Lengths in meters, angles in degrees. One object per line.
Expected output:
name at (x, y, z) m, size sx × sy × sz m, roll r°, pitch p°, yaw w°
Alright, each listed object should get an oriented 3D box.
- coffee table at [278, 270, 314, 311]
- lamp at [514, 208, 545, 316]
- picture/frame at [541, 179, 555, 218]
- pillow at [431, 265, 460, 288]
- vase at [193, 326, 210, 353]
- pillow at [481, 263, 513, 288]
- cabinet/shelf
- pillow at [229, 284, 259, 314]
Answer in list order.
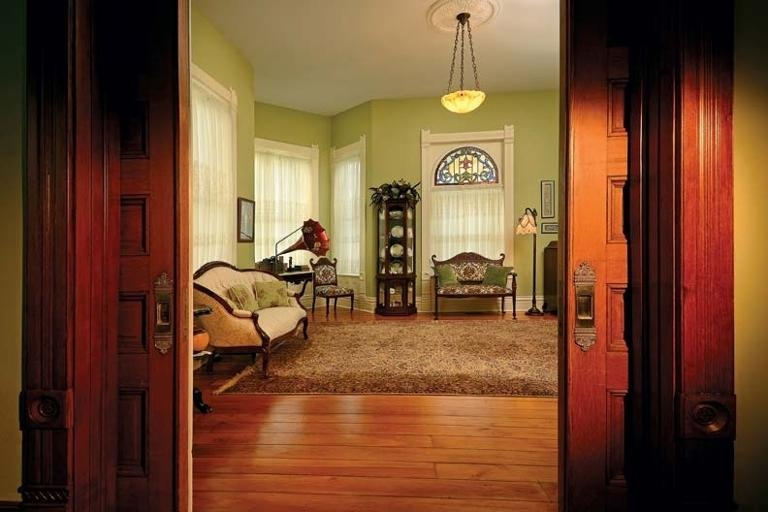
coffee table at (-1.147, 0.519, 7.526) m, size 0.445 × 0.510 × 0.721 m, roll 1°, pitch -2°, yaw -11°
lamp at (1.937, 0.061, 7.927) m, size 0.392 × 1.369 × 0.669 m, roll 2°, pitch 12°, yaw 13°
picture/frame at (2.228, -0.778, 8.068) m, size 0.219 × 0.516 × 0.149 m, roll 2°, pitch 12°, yaw 15°
pillow at (0.822, 0.261, 8.013) m, size 0.285 × 0.284 × 0.084 m, roll -4°, pitch -17°, yaw -26°
vase at (-1.367, 0.629, 4.406) m, size 0.162 × 0.191 × 0.163 m, roll -1°, pitch -9°, yaw -4°
pillow at (1.503, 0.271, 7.959) m, size 0.310 × 0.300 × 0.095 m, roll -1°, pitch -21°, yaw 44°
cabinet/shelf at (0.139, -0.002, 8.109) m, size 0.563 × 1.581 × 0.618 m, roll 0°, pitch 12°, yaw 2°
pillow at (-1.319, 0.388, 5.412) m, size 0.075 × 0.244 × 0.255 m, roll -27°, pitch 3°, yaw 19°
